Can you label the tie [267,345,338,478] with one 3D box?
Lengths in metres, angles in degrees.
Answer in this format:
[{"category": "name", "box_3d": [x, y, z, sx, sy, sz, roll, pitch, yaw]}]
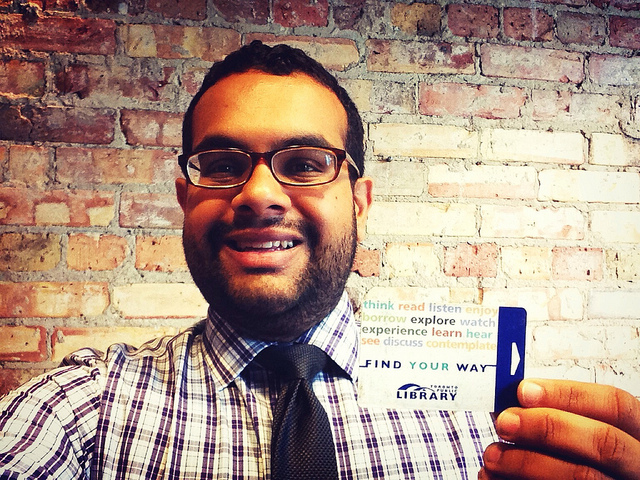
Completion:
[{"category": "tie", "box_3d": [-0.045, 0.438, 1.778, 0.159, 0.301, 0.174, 1, 0, -7]}]
